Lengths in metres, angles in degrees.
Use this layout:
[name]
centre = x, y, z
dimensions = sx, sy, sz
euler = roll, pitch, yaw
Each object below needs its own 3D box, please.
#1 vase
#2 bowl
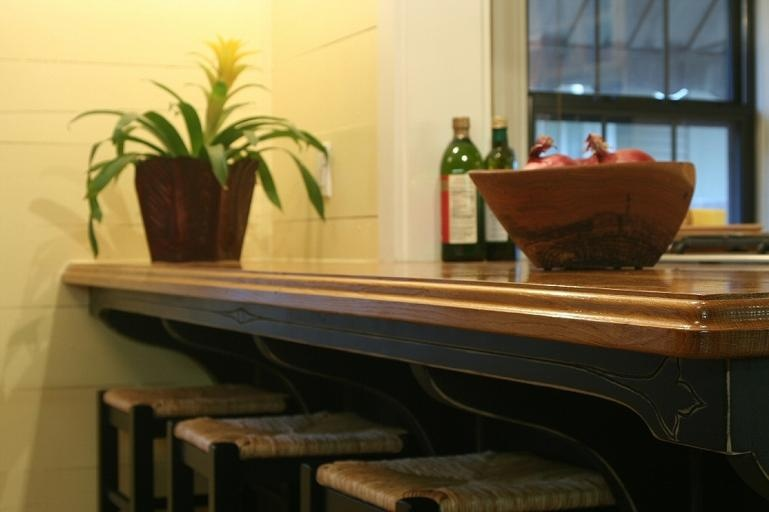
[vase]
centre = -0.428, -0.099, 1.631
dimensions = 0.275, 0.209, 0.265
euler = -2, -8, 1
[bowl]
centre = 0.269, -0.053, 0.902
dimensions = 0.190, 0.091, 0.186
euler = -2, 0, 0
